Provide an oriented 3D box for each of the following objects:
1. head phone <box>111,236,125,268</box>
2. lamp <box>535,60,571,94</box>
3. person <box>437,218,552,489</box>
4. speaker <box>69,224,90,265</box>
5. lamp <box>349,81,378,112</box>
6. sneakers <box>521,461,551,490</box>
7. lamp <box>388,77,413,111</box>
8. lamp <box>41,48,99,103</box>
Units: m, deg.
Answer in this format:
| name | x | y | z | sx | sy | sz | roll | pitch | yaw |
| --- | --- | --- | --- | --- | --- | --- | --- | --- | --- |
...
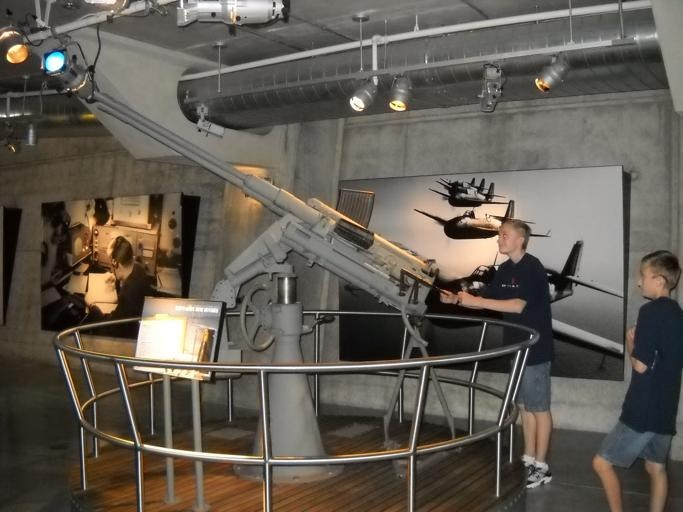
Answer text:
| name | x | y | z | sx | sy | sz | roll | pitch | yaw |
| --- | --- | --- | --- | --- | --- | --- | --- | --- | --- |
| head phone | -2.937 | -0.064 | 8.973 | 0.237 | 0.356 | 0.187 | 2 | 13 | -8 |
| lamp | 1.667 | -1.436 | 5.380 | 0.125 | 0.198 | 0.121 | 44 | -10 | -9 |
| person | 1.313 | 0.768 | 5.437 | 0.811 | 1.913 | 0.899 | 4 | -1 | 19 |
| speaker | -3.613 | -0.158 | 9.419 | 0.256 | 0.522 | 0.472 | 11 | 1 | -9 |
| lamp | 0.197 | -1.382 | 5.816 | 0.210 | 0.252 | 0.251 | 4 | -1 | 10 |
| sneakers | 1.558 | 1.746 | 5.399 | 0.161 | 0.233 | 0.442 | -3 | -9 | 42 |
| lamp | 0.495 | -1.376 | 5.707 | 0.177 | 0.269 | 0.256 | 4 | -1 | 5 |
| lamp | -2.331 | -1.599 | 5.921 | 0.385 | 0.259 | 0.545 | -11 | -10 | 11 |
